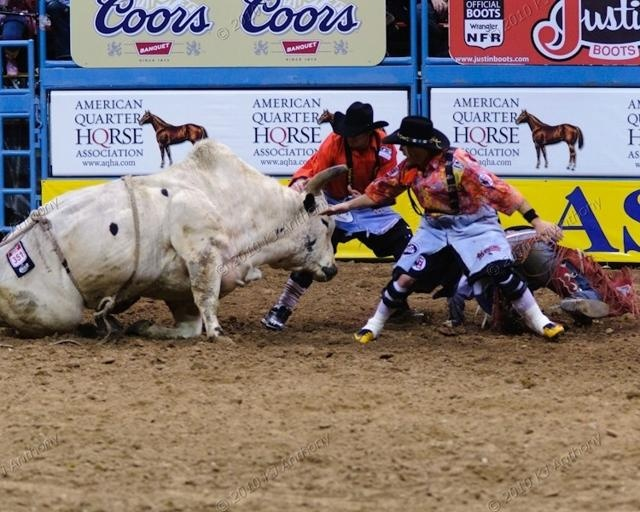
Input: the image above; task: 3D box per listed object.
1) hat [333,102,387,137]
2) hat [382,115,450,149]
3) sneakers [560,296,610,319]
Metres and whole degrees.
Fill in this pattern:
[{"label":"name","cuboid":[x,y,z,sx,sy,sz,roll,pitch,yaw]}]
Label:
[{"label":"hat","cuboid":[0.323,-1.149,9.045,0.320,0.148,0.389,17,27,25]},{"label":"hat","cuboid":[0.730,-0.939,8.277,0.367,0.124,0.279,10,27,16]},{"label":"sneakers","cuboid":[2.092,0.393,8.812,0.347,0.152,0.128,9,-20,5]}]
